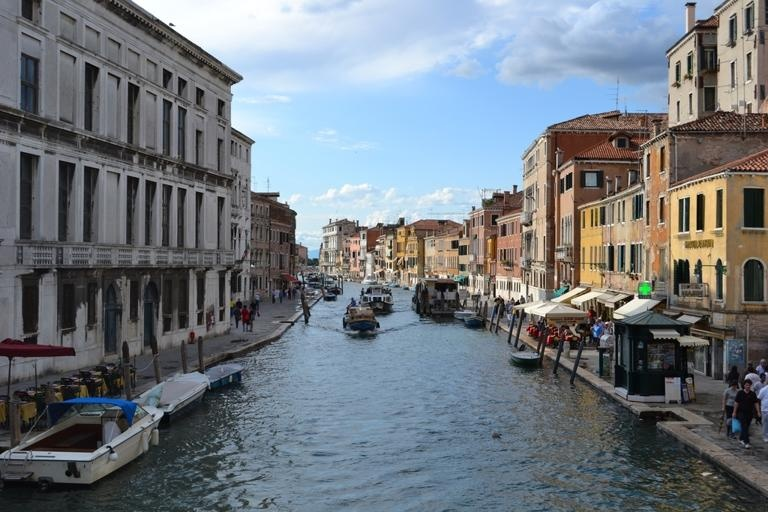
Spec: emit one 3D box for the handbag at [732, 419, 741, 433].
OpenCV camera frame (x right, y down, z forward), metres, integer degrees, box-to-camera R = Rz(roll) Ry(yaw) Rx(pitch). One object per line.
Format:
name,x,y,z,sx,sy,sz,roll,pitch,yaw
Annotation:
handbag,15.774,7.722,36.153,0.344,0.674,0.374,2,6,19

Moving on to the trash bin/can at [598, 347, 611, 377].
trash bin/can,13.321,6.425,48.620,0.756,1.626,1.652,1,6,15

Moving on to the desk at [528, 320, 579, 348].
desk,12.944,5.997,60.888,3.476,1.969,1.688,10,-7,-3
